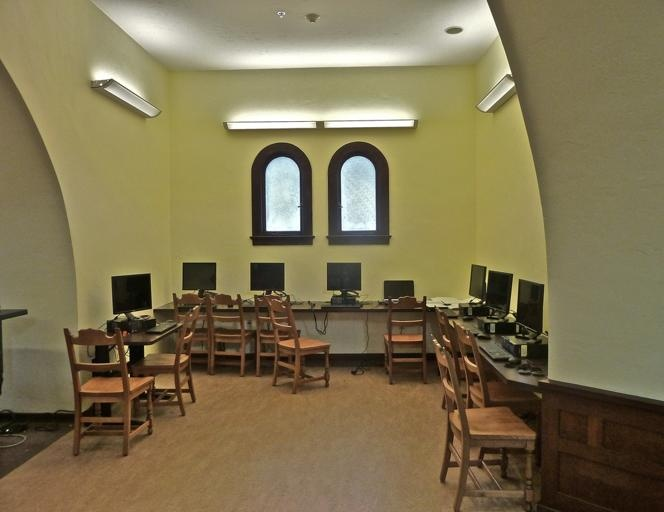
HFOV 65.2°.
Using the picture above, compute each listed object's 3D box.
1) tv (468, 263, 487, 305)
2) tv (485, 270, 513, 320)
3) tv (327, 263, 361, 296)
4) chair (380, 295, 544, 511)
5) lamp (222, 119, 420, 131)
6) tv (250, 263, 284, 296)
[{"bbox_3d":[1.717,0.338,6.082,0.161,0.464,0.458,1,-3,-5],"label":"tv"},{"bbox_3d":[1.729,0.414,5.345,0.155,0.464,0.481,2,-4,-5],"label":"tv"},{"bbox_3d":[0.157,0.285,6.746,0.417,0.350,0.136,0,-6,0],"label":"tv"},{"bbox_3d":[0.902,1.172,4.491,1.007,2.046,1.091,-2,-1,-1],"label":"chair"},{"bbox_3d":[-0.148,-1.725,6.781,2.540,0.116,0.283,0,7,2],"label":"lamp"},{"bbox_3d":[-0.848,0.290,6.794,0.427,0.365,0.059,0,-1,1],"label":"tv"}]
